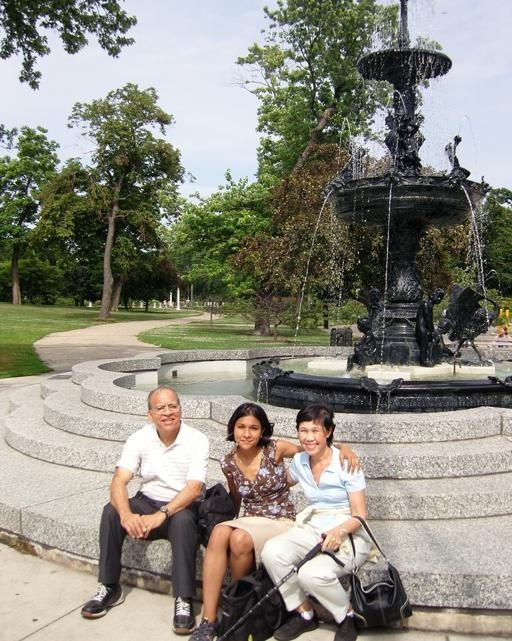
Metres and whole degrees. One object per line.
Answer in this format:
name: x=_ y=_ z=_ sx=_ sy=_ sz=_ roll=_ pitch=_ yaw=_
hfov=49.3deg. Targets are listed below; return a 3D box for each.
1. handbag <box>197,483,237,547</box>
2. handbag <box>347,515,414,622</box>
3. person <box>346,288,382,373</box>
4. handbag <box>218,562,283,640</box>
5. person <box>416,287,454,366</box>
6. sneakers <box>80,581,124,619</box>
handbag: x=-0.257 y=1.260 z=3.633 sx=0.153 sy=0.341 sz=0.272 roll=0 pitch=-9 yaw=18
handbag: x=0.706 y=1.474 z=3.202 sx=0.353 sy=0.480 sz=0.397 roll=3 pitch=1 yaw=12
person: x=2.021 y=0.141 z=10.384 sx=0.530 sy=1.163 sz=1.113 roll=3 pitch=1 yaw=12
handbag: x=-0.022 y=1.565 z=3.098 sx=0.203 sy=0.325 sz=0.374 roll=23 pitch=-5 yaw=43
person: x=3.166 y=0.113 z=9.983 sx=0.602 sy=1.124 sz=0.887 roll=4 pitch=2 yaw=25
sneakers: x=-0.954 y=1.736 z=3.469 sx=0.102 sy=0.114 sz=0.273 roll=-3 pitch=-4 yaw=20
